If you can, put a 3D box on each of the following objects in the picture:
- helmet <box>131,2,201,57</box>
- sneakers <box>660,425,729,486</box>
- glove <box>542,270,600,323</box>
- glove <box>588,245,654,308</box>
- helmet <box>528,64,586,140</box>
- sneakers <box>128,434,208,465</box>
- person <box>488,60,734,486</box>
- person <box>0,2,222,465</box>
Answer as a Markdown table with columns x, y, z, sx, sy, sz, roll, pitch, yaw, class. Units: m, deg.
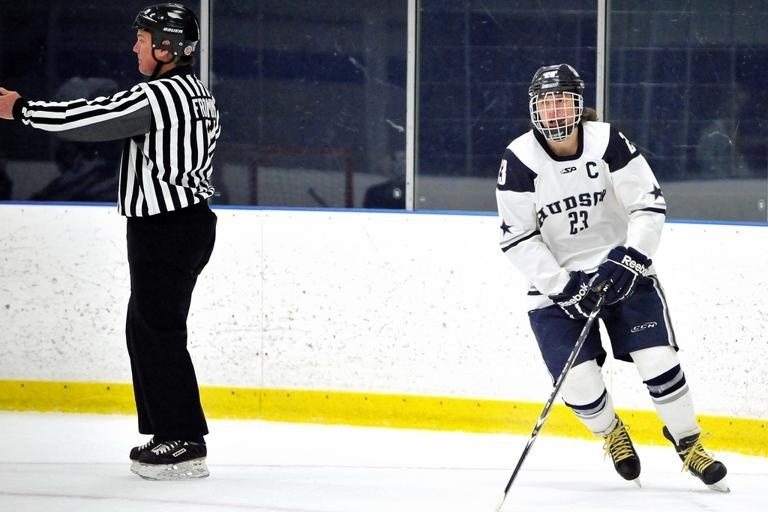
| x | y | z | sx | sy | sz | roll | pitch | yaw | class |
| --- | --- | --- | --- | --- | --- | --- | --- | --- | --- |
| -1.024 | -1.060 | 4.407 | 0.304 | 0.218 | 0.223 | 7 | 10 | -4 | helmet |
| 1.411 | 0.902 | 4.357 | 0.157 | 0.159 | 0.372 | -41 | 28 | 2 | sneakers |
| 0.877 | 0.185 | 4.267 | 0.217 | 0.240 | 0.119 | 4 | 9 | 12 | glove |
| 1.073 | 0.093 | 4.202 | 0.263 | 0.261 | 0.079 | -1 | 9 | -16 | glove |
| 0.790 | -0.692 | 4.174 | 0.279 | 0.320 | 0.344 | -4 | 5 | 16 | helmet |
| -1.038 | 0.908 | 4.421 | 0.416 | 0.177 | 0.135 | 7 | -1 | -9 | sneakers |
| 1.019 | 0.109 | 4.312 | 1.019 | 1.941 | 0.323 | 3 | 9 | 9 | person |
| -1.168 | -0.082 | 4.314 | 0.753 | 2.152 | 0.402 | 0 | 9 | -10 | person |
